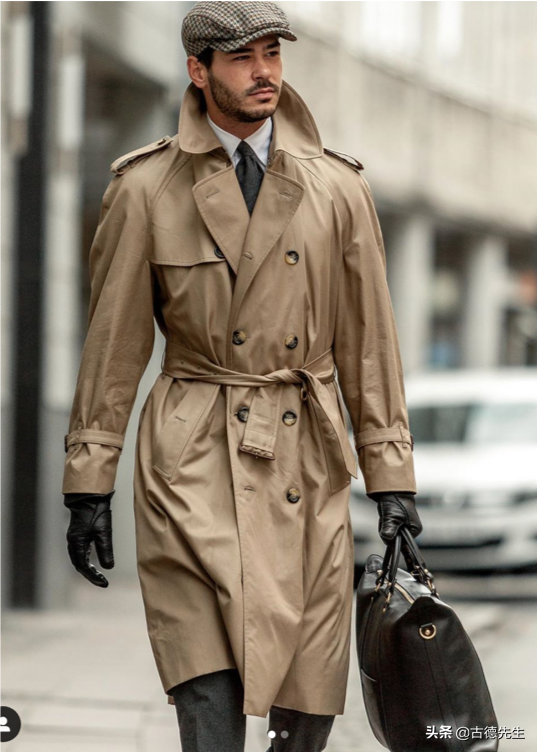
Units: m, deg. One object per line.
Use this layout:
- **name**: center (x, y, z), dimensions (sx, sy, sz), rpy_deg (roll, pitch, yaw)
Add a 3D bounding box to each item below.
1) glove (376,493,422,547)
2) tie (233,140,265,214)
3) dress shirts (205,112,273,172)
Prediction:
- **glove**: center (0.312, 0.337, 2.817), dimensions (0.089, 0.132, 0.050), rpy_deg (3, -26, -24)
- **tie**: center (-0.049, -0.482, 2.848), dimensions (0.024, 0.254, 0.068), rpy_deg (-21, 28, -24)
- **dress shirts**: center (-0.064, -0.564, 2.849), dimensions (0.113, 0.148, 0.081), rpy_deg (2, 14, -1)
